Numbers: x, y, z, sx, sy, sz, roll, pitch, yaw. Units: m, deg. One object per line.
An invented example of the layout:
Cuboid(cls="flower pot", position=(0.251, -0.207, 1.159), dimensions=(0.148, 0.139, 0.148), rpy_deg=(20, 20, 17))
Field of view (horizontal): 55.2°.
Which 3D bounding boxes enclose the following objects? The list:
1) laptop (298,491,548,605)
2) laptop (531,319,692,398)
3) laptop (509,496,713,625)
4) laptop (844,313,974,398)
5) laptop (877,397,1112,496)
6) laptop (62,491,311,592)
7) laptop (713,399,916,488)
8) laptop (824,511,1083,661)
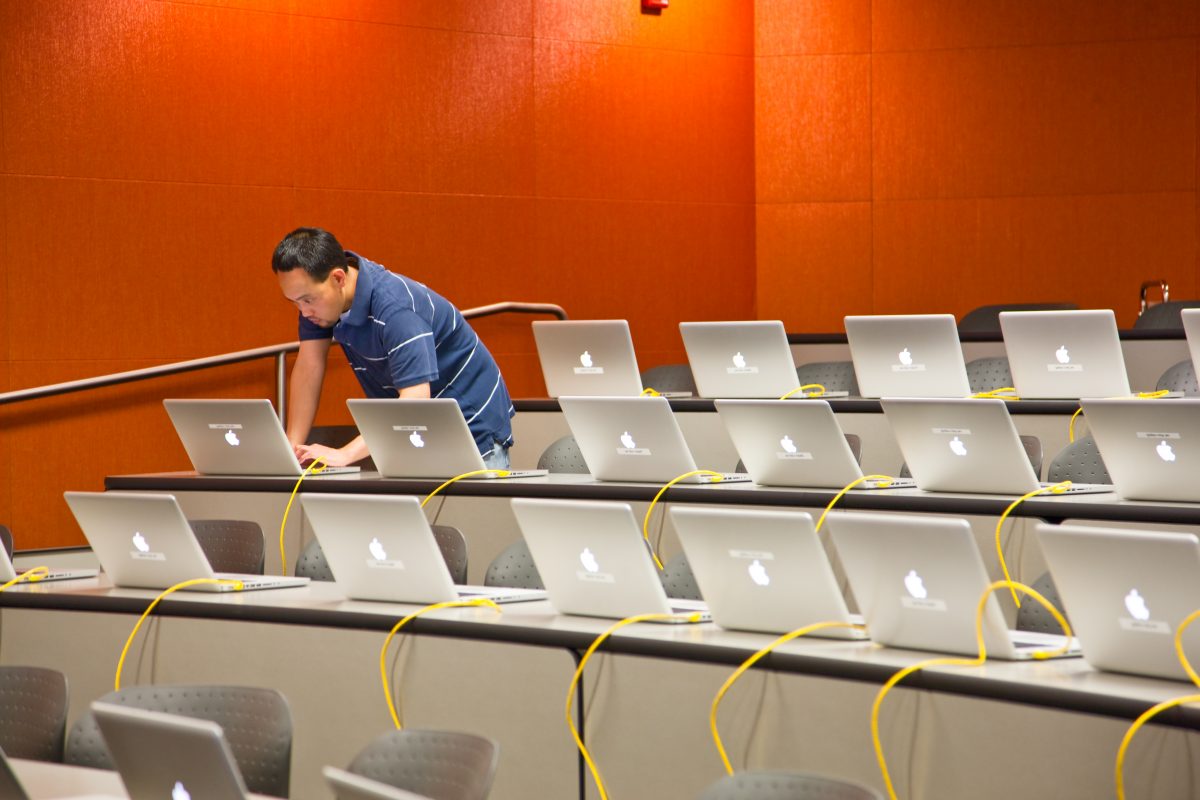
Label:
Cuboid(cls="laptop", position=(-0.579, 0.405, 3.181), dimensions=(0.396, 0.253, 0.390), rpy_deg=(-3, -5, 38))
Cuboid(cls="laptop", position=(-0.004, -0.190, 5.316), dimensions=(0.394, 0.266, 0.386), rpy_deg=(-3, -4, 35))
Cuboid(cls="laptop", position=(-0.003, 0.398, 2.966), dimensions=(0.343, 0.276, 0.376), rpy_deg=(-3, -8, 41))
Cuboid(cls="laptop", position=(1.289, -0.181, 4.797), dimensions=(0.479, 0.353, 0.367), rpy_deg=(-3, 10, 40))
Cuboid(cls="laptop", position=(1.138, 0.146, 3.629), dimensions=(0.425, 0.272, 0.421), rpy_deg=(-2, -6, 44))
Cuboid(cls="laptop", position=(-1.275, 0.422, 3.460), dimensions=(0.400, 0.247, 0.389), rpy_deg=(-3, -5, 35))
Cuboid(cls="laptop", position=(0.622, 0.146, 3.813), dimensions=(0.371, 0.260, 0.403), rpy_deg=(-5, -6, 40))
Cuboid(cls="laptop", position=(0.766, 0.361, 2.610), dimensions=(0.407, 0.298, 0.381), rpy_deg=(7, -8, -43))
